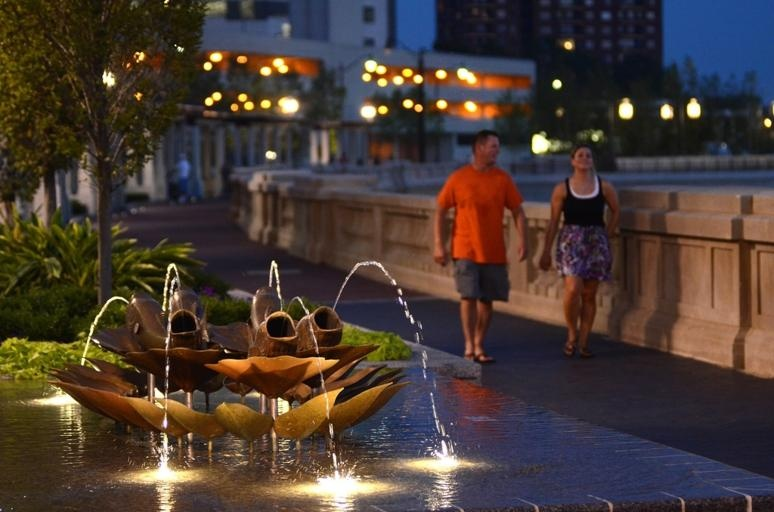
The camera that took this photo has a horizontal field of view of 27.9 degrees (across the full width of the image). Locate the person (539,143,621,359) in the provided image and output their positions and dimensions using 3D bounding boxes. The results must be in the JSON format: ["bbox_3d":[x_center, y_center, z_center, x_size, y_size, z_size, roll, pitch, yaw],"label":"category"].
[{"bbox_3d":[2.287,-0.057,18.596,0.874,2.520,0.387,0,4,6],"label":"person"}]

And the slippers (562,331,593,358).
[{"bbox_3d":[2.254,1.084,18.674,0.155,0.224,0.503,0,-6,-7],"label":"slippers"}]

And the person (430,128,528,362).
[{"bbox_3d":[1.078,-0.098,18.293,1.055,2.714,0.406,0,4,5],"label":"person"}]

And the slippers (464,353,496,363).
[{"bbox_3d":[1.069,1.189,18.352,0.328,0.092,0.133,1,2,15],"label":"slippers"}]
